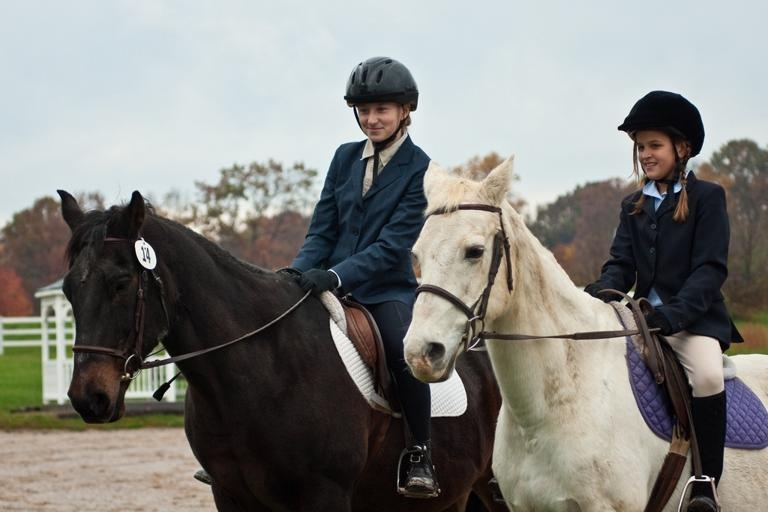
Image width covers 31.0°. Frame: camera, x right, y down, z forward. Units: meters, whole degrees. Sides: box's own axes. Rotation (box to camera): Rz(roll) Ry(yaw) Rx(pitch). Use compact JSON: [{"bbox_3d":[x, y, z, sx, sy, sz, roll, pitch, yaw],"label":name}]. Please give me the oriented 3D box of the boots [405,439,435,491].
[{"bbox_3d":[0.486,2.967,19.542,0.481,0.819,0.816,-7,-10,7],"label":"boots"}]
